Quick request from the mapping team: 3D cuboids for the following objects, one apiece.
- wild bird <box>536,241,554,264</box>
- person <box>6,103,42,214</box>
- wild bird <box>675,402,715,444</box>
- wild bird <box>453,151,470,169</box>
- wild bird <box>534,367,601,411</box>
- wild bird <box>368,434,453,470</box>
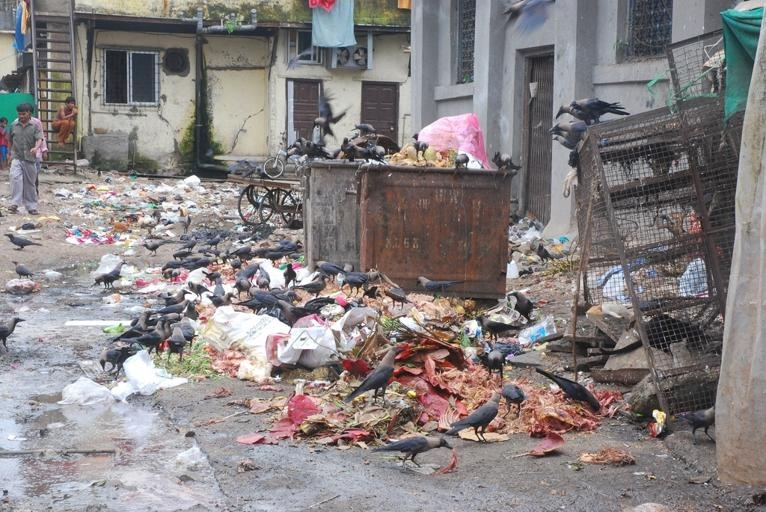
[{"bbox_3d":[2.625,-0.068,16.795,0.072,0.253,0.261,-14,20,-33],"label":"wild bird"},{"bbox_3d":[-6.771,-1.831,19.428,0.588,2.087,0.579,-1,7,-20],"label":"person"},{"bbox_3d":[3.237,1.681,10.552,0.579,0.350,0.149,3,-3,4],"label":"wild bird"},{"bbox_3d":[1.059,-1.295,13.937,0.185,0.196,0.374,2,5,3],"label":"wild bird"},{"bbox_3d":[1.983,1.455,11.068,0.698,0.486,0.790,0,-2,6],"label":"wild bird"},{"bbox_3d":[0.294,1.944,10.545,0.893,0.330,0.542,0,6,-12],"label":"wild bird"}]
